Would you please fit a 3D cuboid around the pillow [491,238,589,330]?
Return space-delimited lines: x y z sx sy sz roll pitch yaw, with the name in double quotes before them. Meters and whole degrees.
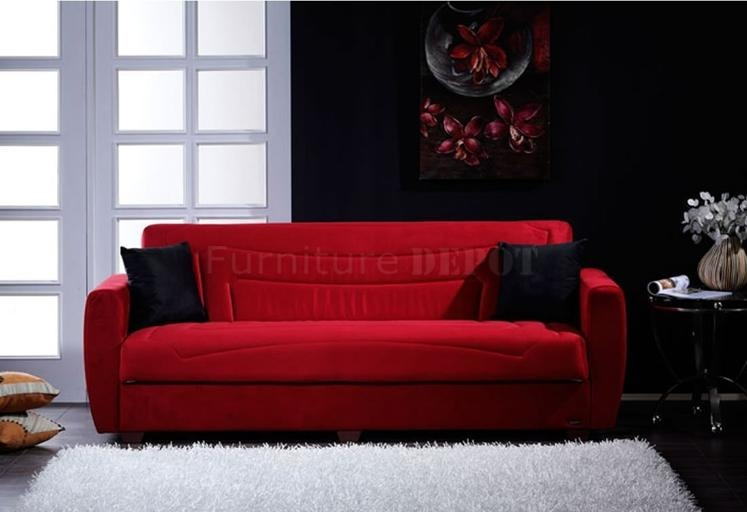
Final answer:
"pillow" 1.020 0.145 4.592 0.502 0.500 0.093 3 21 7

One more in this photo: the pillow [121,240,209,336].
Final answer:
"pillow" -1.315 0.210 4.535 0.553 0.516 0.165 -9 -7 -40

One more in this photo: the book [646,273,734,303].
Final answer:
"book" 2.053 0.201 4.596 0.541 0.120 0.358 -5 6 -20
